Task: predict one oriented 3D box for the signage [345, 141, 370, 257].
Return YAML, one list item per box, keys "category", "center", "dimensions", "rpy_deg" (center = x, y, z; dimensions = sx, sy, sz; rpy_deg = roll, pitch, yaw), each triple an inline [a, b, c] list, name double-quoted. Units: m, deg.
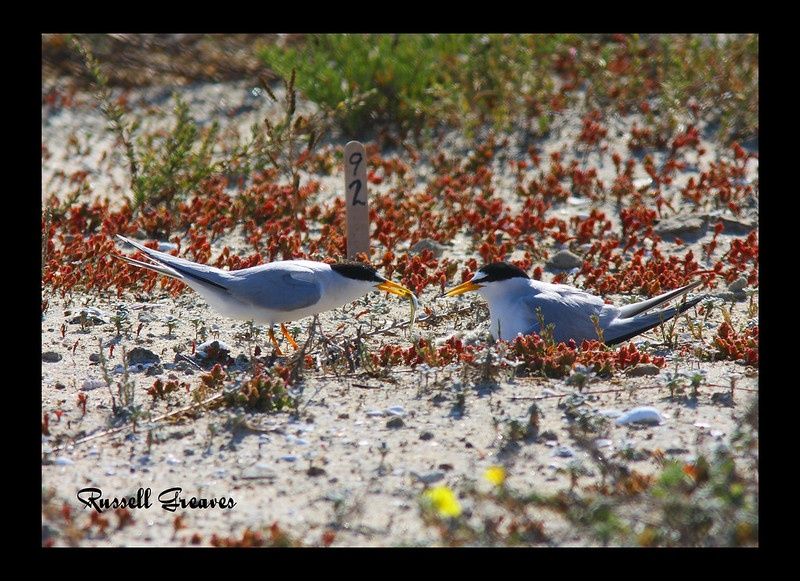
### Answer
- category: "signage"
  center: [-0.421, -0.904, 9.502]
  dimensions: [0.299, 1.182, 0.032]
  rpy_deg: [-1, 2, 32]
